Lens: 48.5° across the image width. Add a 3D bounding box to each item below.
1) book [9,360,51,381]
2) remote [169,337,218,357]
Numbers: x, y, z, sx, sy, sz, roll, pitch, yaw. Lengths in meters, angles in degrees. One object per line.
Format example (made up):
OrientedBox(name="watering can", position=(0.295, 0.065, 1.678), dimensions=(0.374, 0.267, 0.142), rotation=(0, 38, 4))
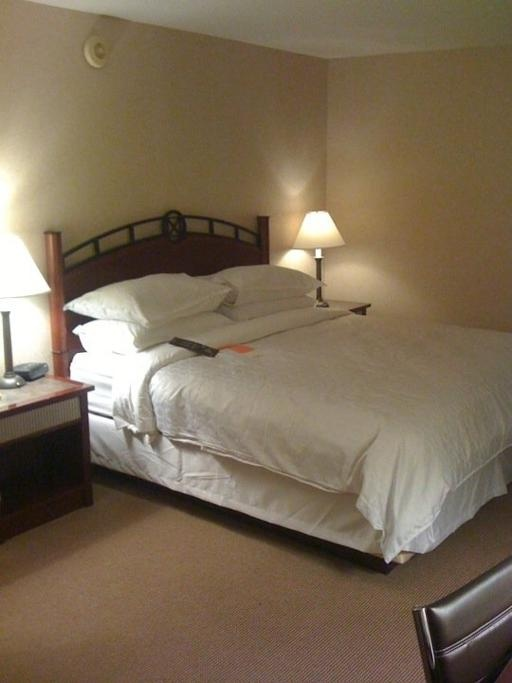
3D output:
OrientedBox(name="book", position=(-0.900, 0.117, 2.292), dimensions=(0.091, 0.027, 0.085), rotation=(8, 16, 24))
OrientedBox(name="remote", position=(-0.249, 0.025, 2.302), dimensions=(0.163, 0.028, 0.081), rotation=(19, 22, 27))
